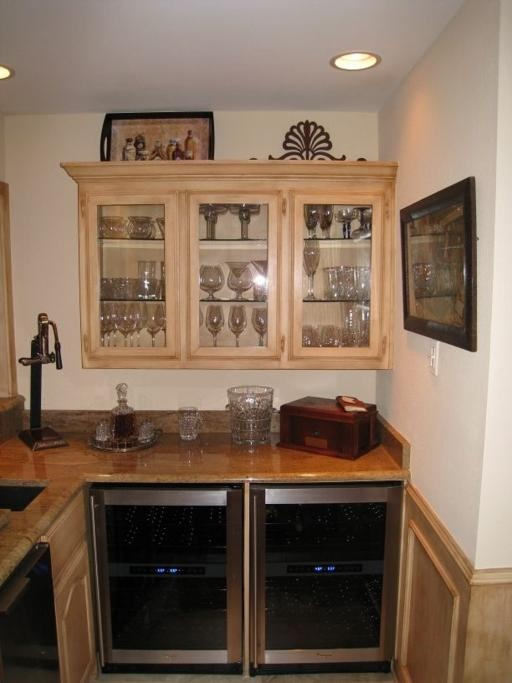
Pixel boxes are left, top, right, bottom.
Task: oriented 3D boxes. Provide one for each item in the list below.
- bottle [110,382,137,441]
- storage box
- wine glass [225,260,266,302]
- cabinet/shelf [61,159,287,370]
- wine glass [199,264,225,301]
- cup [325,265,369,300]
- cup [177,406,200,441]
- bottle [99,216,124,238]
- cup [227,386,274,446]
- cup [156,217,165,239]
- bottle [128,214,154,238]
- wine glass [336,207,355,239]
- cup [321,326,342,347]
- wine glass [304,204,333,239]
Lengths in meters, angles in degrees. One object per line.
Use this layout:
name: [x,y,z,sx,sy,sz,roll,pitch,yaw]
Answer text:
bottle: [-0.593,0.296,2.384,0.100,0.247,0.251,-3,4,-14]
storage box: [0.326,0.348,2.355,0.387,0.219,0.326,0,5,30]
wine glass: [-0.041,-0.259,2.236,0.138,0.147,0.050,0,2,4]
cabinet/shelf: [-0.299,-0.323,2.217,0.709,0.747,0.227,0,2,-2]
wine glass: [-0.185,-0.257,2.291,0.101,0.163,0.119,0,0,-1]
cup: [0.379,-0.240,2.233,0.135,0.106,0.148,1,5,0]
cup: [-0.308,0.366,2.450,0.086,0.144,0.086,-2,4,0]
bottle: [-0.605,-0.469,2.233,0.079,0.073,0.089,3,7,26]
cup: [-0.039,0.301,2.415,0.209,0.274,0.217,1,4,0]
cup: [-0.393,-0.472,2.214,0.043,0.078,0.069,0,1,4]
bottle: [-0.478,-0.475,2.226,0.092,0.079,0.076,2,6,0]
wine glass: [0.374,-0.494,2.275,0.085,0.146,0.082,-1,2,-20]
cup: [0.317,-0.027,2.244,0.068,0.083,0.040,0,-2,-1]
wine glass: [0.255,-0.496,2.205,0.107,0.161,0.053,-1,4,-7]
